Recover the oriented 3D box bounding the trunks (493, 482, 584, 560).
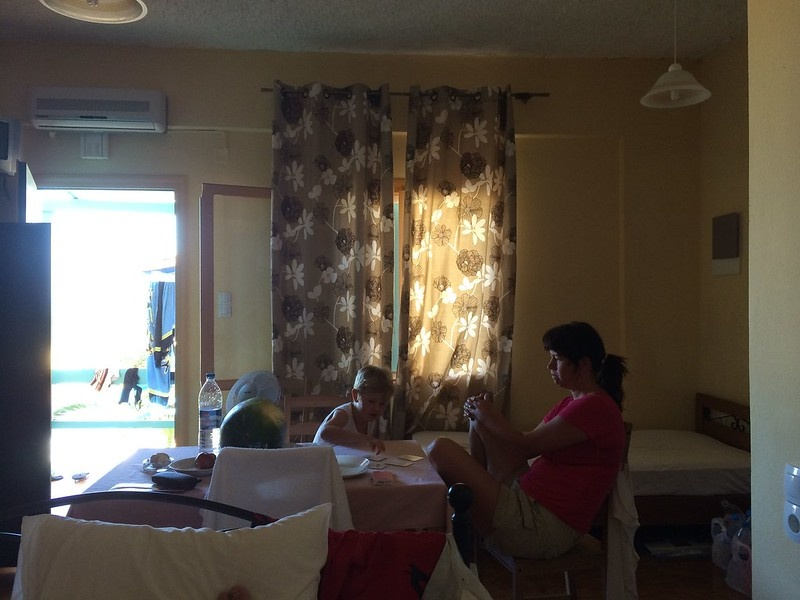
[{"bbox_3d":[0.587,1.002,3.097,0.332,0.268,0.155,15,-2,-1],"label":"trunks"}]

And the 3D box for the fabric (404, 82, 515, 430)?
[{"bbox_3d":[0.382,-0.298,4.826,0.681,0.128,2.218,-4,-38,-2],"label":"fabric"}]

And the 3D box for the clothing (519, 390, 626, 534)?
[{"bbox_3d":[0.821,0.714,3.267,0.419,0.654,0.663,14,-6,16],"label":"clothing"}]

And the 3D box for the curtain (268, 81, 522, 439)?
[{"bbox_3d":[-0.034,-0.219,4.607,1.567,2.393,0.117,1,-14,-3],"label":"curtain"}]

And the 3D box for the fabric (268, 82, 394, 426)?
[{"bbox_3d":[-0.438,-0.396,4.558,0.797,2.060,0.166,0,0,-11],"label":"fabric"}]

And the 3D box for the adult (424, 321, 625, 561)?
[{"bbox_3d":[0.630,0.724,3.276,0.822,1.272,0.638,9,-13,19],"label":"adult"}]

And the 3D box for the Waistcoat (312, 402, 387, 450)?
[{"bbox_3d":[-0.267,0.630,3.299,0.212,0.229,0.089,8,-23,10],"label":"Waistcoat"}]

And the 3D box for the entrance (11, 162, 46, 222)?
[{"bbox_3d":[-2.184,-0.590,4.076,0.135,0.360,0.966,0,0,-28],"label":"entrance"}]

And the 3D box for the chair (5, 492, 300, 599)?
[{"bbox_3d":[-0.907,0.799,2.446,0.948,0.282,0.488,0,0,8],"label":"chair"}]

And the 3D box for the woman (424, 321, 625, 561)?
[{"bbox_3d":[0.606,0.686,3.261,0.847,1.264,0.602,12,-9,11],"label":"woman"}]

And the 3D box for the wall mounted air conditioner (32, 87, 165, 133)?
[{"bbox_3d":[-2.017,-1.279,4.629,0.833,0.323,0.223,-3,30,-18],"label":"wall mounted air conditioner"}]

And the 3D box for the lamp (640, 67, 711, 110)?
[{"bbox_3d":[1.523,-1.199,3.808,0.277,0.208,0.303,0,0,-10],"label":"lamp"}]

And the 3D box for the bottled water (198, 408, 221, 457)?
[{"bbox_3d":[-0.896,0.614,3.279,0.129,0.193,0.135,-9,-13,29],"label":"bottled water"}]

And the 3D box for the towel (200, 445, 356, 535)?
[{"bbox_3d":[-0.472,0.697,2.637,0.381,0.209,0.393,1,-6,-10],"label":"towel"}]
